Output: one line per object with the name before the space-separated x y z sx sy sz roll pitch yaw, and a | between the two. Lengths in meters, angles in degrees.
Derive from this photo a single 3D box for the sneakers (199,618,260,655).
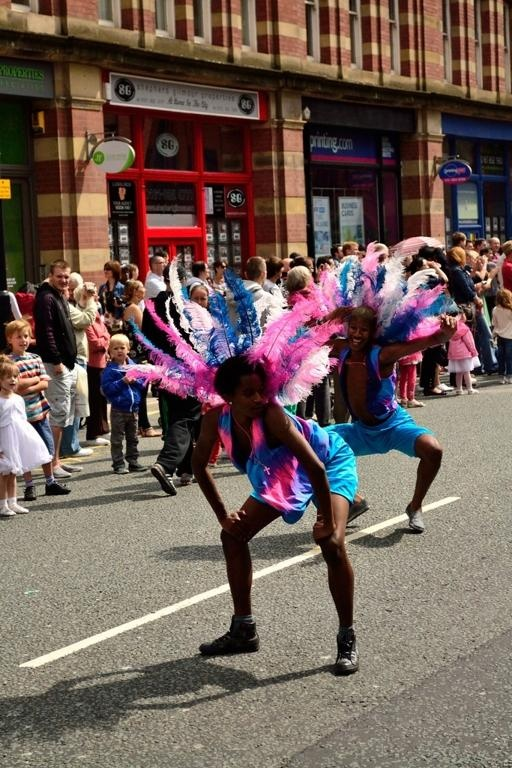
sneakers | -0.097 1.057 3.311 0.338 0.176 0.111 0 0 -1

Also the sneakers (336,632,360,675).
sneakers | 0.348 1.012 3.049 0.090 0.142 0.194 -3 1 6

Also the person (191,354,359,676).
person | 0.055 0.499 3.212 0.674 1.048 0.659 -3 1 6

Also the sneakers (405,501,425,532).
sneakers | 1.083 0.922 5.336 0.086 0.087 0.229 0 8 -7

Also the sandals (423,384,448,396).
sandals | 2.926 0.106 12.837 0.470 0.147 0.138 -1 0 5
